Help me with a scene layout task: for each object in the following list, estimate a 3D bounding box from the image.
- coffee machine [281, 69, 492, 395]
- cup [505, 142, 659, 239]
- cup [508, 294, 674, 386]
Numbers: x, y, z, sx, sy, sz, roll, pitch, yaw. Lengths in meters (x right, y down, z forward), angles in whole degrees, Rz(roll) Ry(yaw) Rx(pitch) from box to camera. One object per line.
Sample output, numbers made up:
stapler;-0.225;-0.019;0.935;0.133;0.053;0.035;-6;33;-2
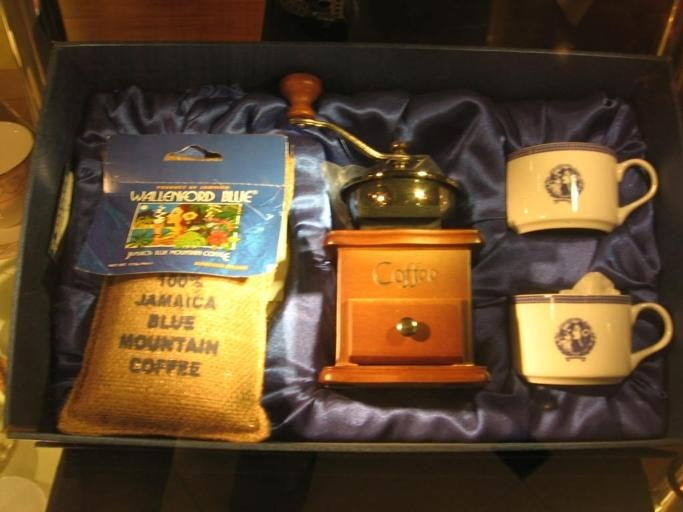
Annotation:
coffee machine;0.068;-0.058;0.951;0.296;0.466;0.360;-4;22;-4
cup;0.370;-0.102;0.946;0.235;0.103;0.151;0;-8;9
cup;0.367;0.130;0.909;0.235;0.112;0.147;1;-8;3
